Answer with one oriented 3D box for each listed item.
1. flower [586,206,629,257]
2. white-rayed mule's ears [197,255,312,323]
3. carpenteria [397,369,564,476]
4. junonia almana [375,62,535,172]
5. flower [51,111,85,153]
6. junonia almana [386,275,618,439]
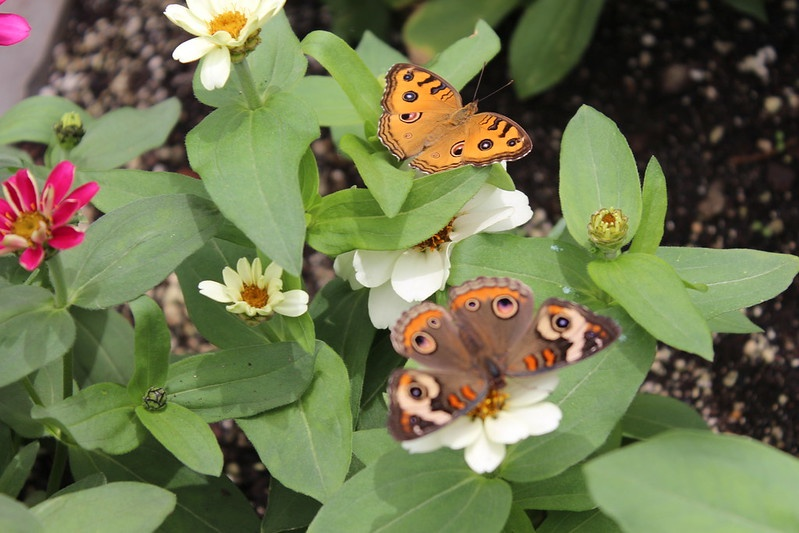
[{"bbox_3d":[0.380,-0.069,1.352,0.069,0.083,0.077,3,21,16],"label":"flower"},{"bbox_3d":[-0.257,0.058,1.402,0.191,0.119,0.116,30,73,14],"label":"white-rayed mule's ears"},{"bbox_3d":[0.154,0.244,1.185,0.184,0.054,0.189,-21,27,-2],"label":"carpenteria"},{"bbox_3d":[0.105,-0.252,1.407,0.293,0.125,0.200,12,70,9],"label":"junonia almana"},{"bbox_3d":[-0.676,-0.280,1.551,0.069,0.109,0.070,9,43,-17],"label":"flower"},{"bbox_3d":[0.140,0.141,1.213,0.377,0.078,0.212,-33,66,-7],"label":"junonia almana"}]
